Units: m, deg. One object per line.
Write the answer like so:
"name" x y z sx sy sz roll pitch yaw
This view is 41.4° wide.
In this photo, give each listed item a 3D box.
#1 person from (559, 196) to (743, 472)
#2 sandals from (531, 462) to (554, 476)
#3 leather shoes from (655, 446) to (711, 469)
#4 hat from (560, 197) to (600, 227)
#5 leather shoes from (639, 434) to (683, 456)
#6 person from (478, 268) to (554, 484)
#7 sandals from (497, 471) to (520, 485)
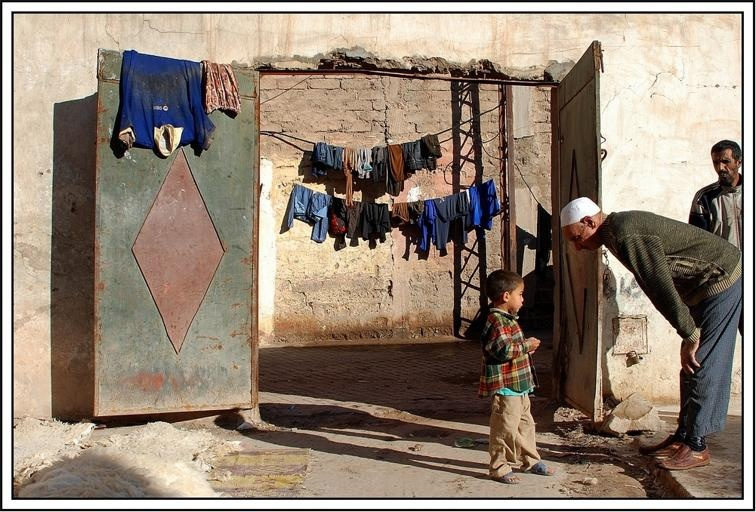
"person" 2.644 0.730 9.356 1.399 2.472 0.622 3 7 16
"sandals" 1.539 2.032 9.442 0.214 0.089 0.087 -3 -1 25
"leather shoes" 2.842 1.871 9.361 0.495 0.212 0.195 -5 -3 -9
"hat" 1.890 -0.414 9.337 0.328 0.222 0.232 -8 9 -3
"leather shoes" 2.712 1.833 9.650 0.415 0.171 0.155 -4 -7 10
"person" 1.271 1.124 9.354 0.604 1.952 0.433 0 7 -5
"sandals" 1.209 2.079 9.273 0.230 0.096 0.084 -7 -4 28
